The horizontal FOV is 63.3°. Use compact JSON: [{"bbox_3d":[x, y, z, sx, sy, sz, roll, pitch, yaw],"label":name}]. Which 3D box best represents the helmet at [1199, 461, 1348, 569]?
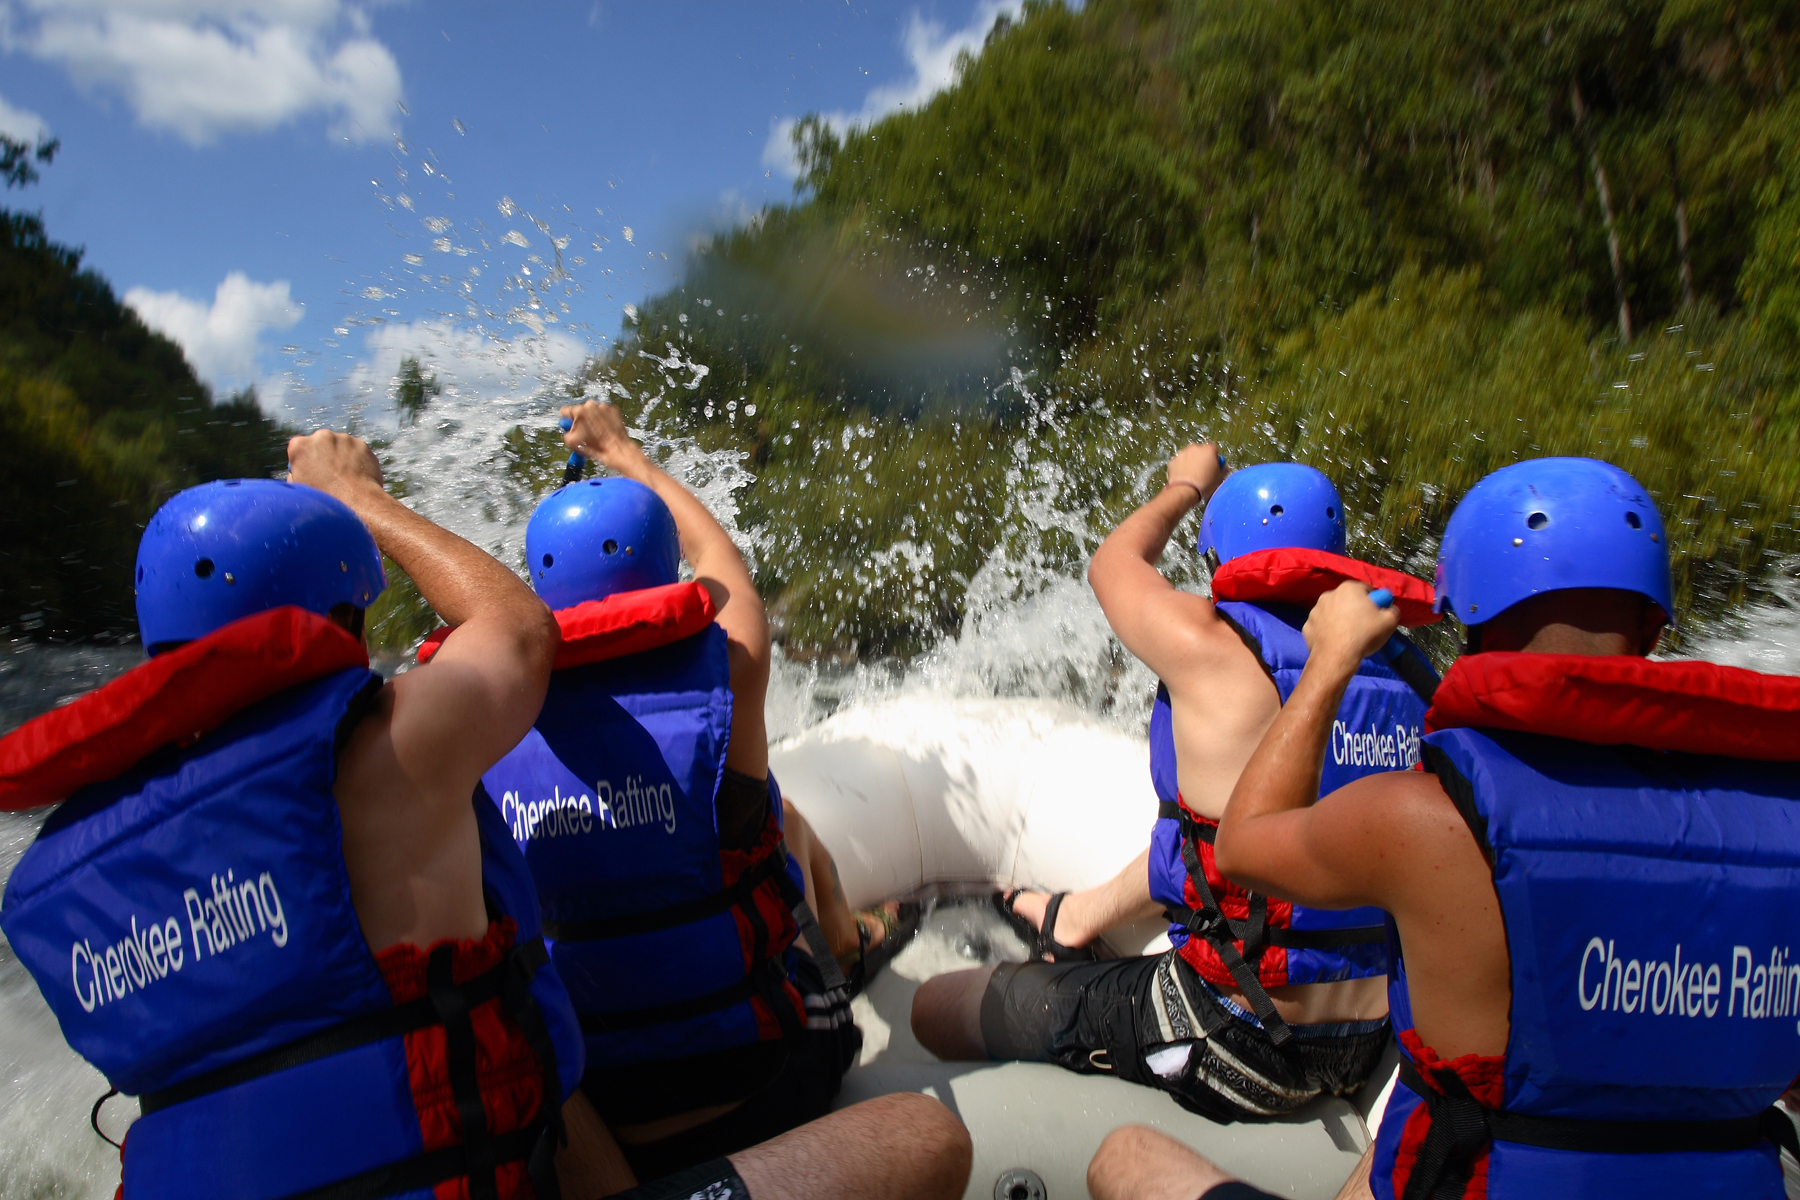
[{"bbox_3d":[1.603,-0.378,6.202,0.375,0.558,0.534,-1,4,-1],"label":"helmet"}]

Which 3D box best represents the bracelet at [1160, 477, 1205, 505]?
[{"bbox_3d":[1.287,-0.488,6.454,0.108,0.111,0.049,1,50,18],"label":"bracelet"}]

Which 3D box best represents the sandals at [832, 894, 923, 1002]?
[{"bbox_3d":[-0.084,1.624,6.991,0.434,0.248,0.136,-40,38,-16],"label":"sandals"}]

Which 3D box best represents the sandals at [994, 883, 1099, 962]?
[{"bbox_3d":[0.697,1.539,7.065,0.209,0.244,0.582,-37,46,-18],"label":"sandals"}]
